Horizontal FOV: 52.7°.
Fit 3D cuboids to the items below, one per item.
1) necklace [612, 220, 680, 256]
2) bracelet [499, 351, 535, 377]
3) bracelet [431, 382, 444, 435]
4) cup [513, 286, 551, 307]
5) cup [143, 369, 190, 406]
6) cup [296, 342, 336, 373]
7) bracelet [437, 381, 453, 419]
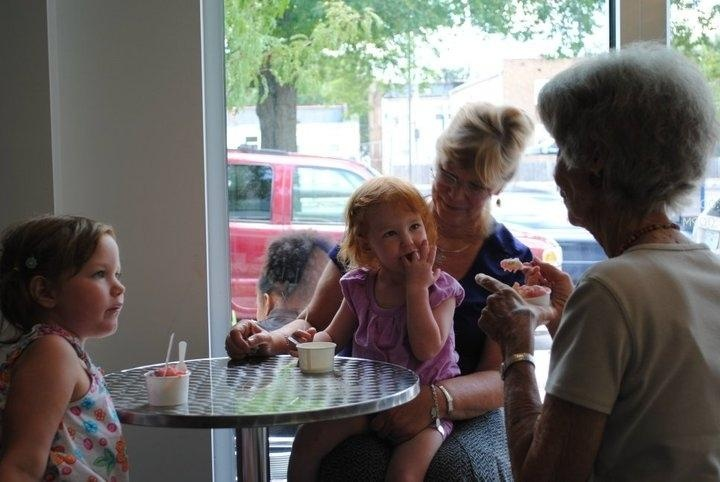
[{"bbox_3d":[0.869,-0.015,2.221,0.133,0.036,0.105,-28,-17,25],"label":"necklace"},{"bbox_3d":[0.495,0.388,2.303,0.085,0.023,0.083,7,-40,-23],"label":"bracelet"},{"bbox_3d":[0.286,0.645,2.764,0.056,0.169,0.103,-3,9,-13],"label":"bracelet"},{"bbox_3d":[0.642,0.197,2.701,0.096,0.051,0.102,-2,-1,0],"label":"cup"},{"bbox_3d":[-0.657,0.495,2.466,0.163,0.099,0.167,0,-1,0],"label":"cup"},{"bbox_3d":[-0.170,0.427,2.676,0.120,0.075,0.120,-2,-8,0],"label":"cup"},{"bbox_3d":[0.328,0.610,2.783,0.028,0.093,0.097,-10,24,-15],"label":"bracelet"}]
